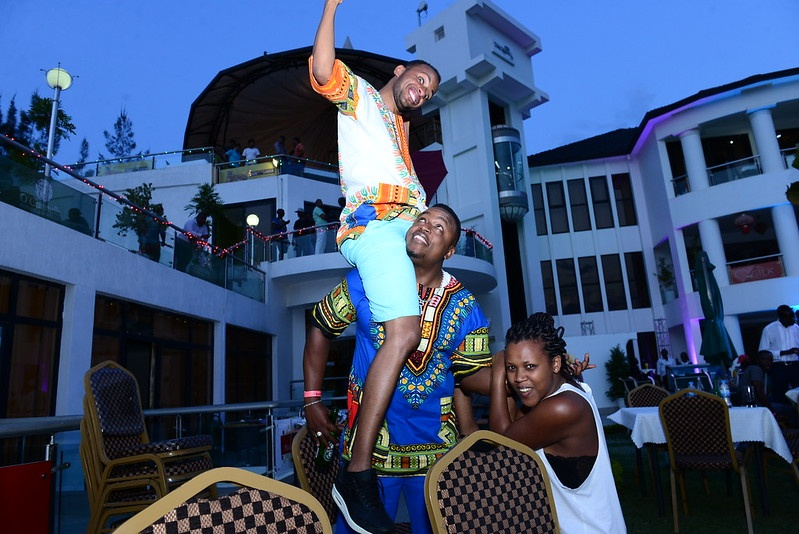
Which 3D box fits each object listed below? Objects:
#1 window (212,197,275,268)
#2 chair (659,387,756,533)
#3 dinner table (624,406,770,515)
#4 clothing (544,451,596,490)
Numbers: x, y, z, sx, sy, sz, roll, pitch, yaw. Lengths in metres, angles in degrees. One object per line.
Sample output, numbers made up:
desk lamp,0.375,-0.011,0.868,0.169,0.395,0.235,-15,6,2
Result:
window,-4.234,-0.965,15.909,1.557,1.677,1.159,-3,-17,8
chair,3.569,2.251,6.795,0.862,1.612,0.876,-10,-13,26
dinner table,3.978,2.182,7.675,1.380,0.708,1.448,-3,0,21
clothing,1.358,1.620,4.609,0.399,0.232,0.326,-1,-18,6
